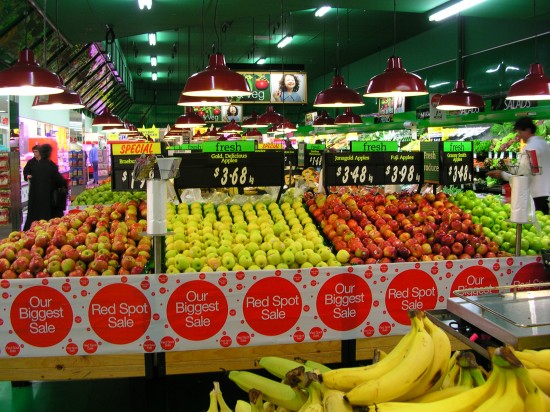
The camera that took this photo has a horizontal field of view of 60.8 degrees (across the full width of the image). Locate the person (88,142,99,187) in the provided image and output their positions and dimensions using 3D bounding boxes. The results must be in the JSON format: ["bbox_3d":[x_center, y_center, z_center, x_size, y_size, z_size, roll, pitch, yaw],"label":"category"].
[{"bbox_3d":[-6.286,-1.510,16.280,0.354,1.381,1.717,-9,0,-20],"label":"person"}]

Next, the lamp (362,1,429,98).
[{"bbox_3d":[1.282,-1.620,5.215,0.635,1.269,0.688,0,13,11],"label":"lamp"}]
